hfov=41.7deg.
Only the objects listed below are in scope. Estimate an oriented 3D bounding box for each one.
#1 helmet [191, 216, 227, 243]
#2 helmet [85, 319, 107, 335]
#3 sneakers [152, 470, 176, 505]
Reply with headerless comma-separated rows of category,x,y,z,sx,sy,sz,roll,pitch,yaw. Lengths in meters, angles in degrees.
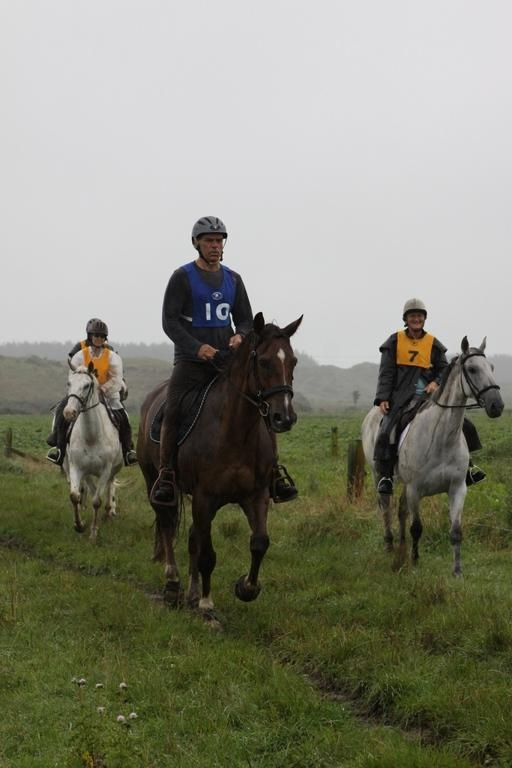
helmet,-0.503,-1.705,7.259,0.360,0.258,0.569,3,1,-7
helmet,-2.780,-1.006,11.758,0.309,0.262,0.400,3,1,-18
sneakers,-0.975,1.105,7.188,0.268,0.381,0.100,-2,-20,12
